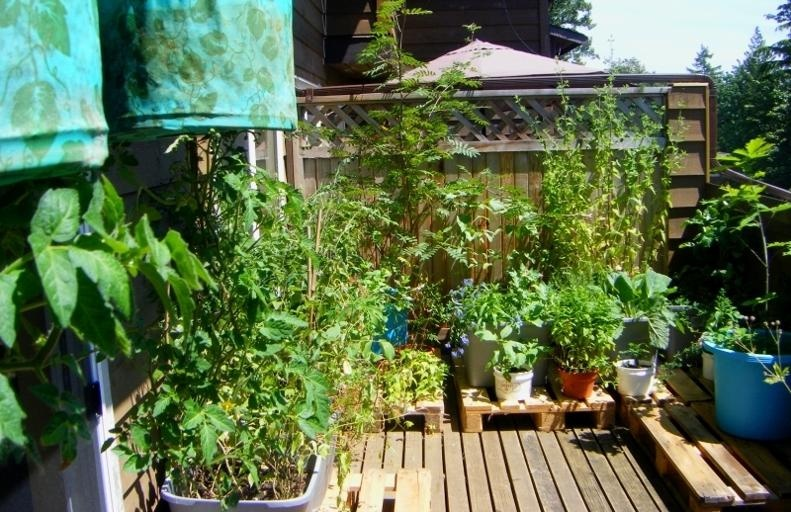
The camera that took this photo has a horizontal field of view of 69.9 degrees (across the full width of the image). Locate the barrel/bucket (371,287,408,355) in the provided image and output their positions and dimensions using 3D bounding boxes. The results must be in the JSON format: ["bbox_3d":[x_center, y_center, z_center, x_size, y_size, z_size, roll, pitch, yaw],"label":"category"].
[{"bbox_3d":[-0.010,0.444,3.954,0.363,0.412,0.382,2,2,0],"label":"barrel/bucket"}]

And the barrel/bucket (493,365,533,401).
[{"bbox_3d":[0.761,0.799,3.586,0.202,0.165,0.213,0,-6,0],"label":"barrel/bucket"}]

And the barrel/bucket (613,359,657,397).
[{"bbox_3d":[1.577,0.794,3.700,0.269,0.212,0.211,2,6,10],"label":"barrel/bucket"}]
